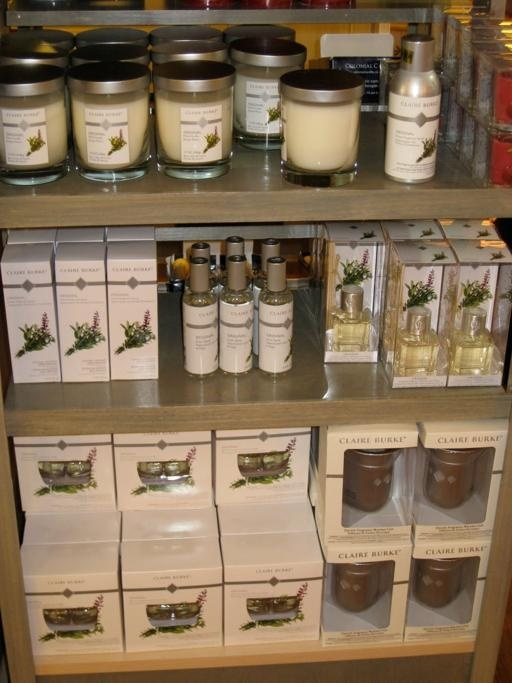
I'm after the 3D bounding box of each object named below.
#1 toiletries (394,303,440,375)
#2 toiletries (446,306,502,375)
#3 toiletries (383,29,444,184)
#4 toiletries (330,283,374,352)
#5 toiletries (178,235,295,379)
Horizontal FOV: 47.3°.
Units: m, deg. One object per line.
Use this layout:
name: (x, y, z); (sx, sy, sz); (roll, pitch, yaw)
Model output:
toiletries: (0.212, 0.000, 0.769); (0.049, 0.088, 0.045); (0, 30, 6)
toiletries: (0.284, -0.005, 0.773); (0.052, 0.088, 0.048); (-2, 33, 8)
toiletries: (0.168, -0.247, 0.622); (0.054, 0.141, 0.111); (6, 28, 16)
toiletries: (0.133, -0.032, 0.819); (0.057, 0.089, 0.053); (5, 25, 14)
toiletries: (-0.026, -0.041, 0.786); (0.213, 0.242, 0.066); (-3, 30, -8)
